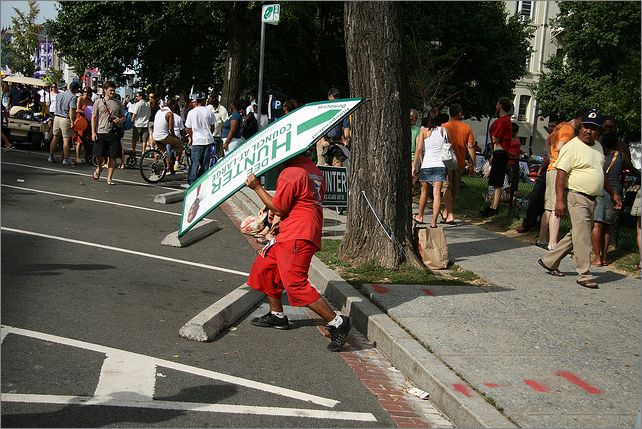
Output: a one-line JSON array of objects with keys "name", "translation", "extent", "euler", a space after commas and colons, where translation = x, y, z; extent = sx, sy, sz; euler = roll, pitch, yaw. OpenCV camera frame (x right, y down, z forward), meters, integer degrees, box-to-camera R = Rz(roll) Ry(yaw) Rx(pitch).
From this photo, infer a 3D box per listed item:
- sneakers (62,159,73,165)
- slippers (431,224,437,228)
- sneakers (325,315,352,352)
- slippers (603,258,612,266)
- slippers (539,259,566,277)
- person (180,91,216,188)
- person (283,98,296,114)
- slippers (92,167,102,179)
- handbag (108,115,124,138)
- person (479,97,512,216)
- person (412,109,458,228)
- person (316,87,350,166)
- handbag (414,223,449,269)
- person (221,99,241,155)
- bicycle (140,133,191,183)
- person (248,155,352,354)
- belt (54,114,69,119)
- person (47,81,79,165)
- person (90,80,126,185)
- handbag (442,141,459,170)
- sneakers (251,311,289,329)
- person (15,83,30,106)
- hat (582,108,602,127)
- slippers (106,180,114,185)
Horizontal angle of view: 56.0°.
[{"name": "sneakers", "translation": [-7.338, -1.517, 17.570], "extent": [0.129, 0.167, 0.368], "euler": [18, 14, 33]}, {"name": "slippers", "translation": [2.260, 0.246, 12.024], "extent": [0.149, 0.116, 0.425], "euler": [0, -1, 5]}, {"name": "sneakers", "translation": [0.195, 1.447, 7.439], "extent": [0.246, 0.531, 0.190], "euler": [13, -1, -30]}, {"name": "slippers", "translation": [5.062, 0.857, 10.636], "extent": [0.083, 0.110, 0.276], "euler": [-1, -5, 11]}, {"name": "slippers", "translation": [3.767, 0.911, 9.810], "extent": [0.473, 0.138, 0.182], "euler": [40, 14, -27]}, {"name": "person", "translation": [-3.215, -1.852, 15.735], "extent": [0.701, 2.518, 0.695], "euler": [11, 12, 14]}, {"name": "person", "translation": [-0.754, -2.612, 14.607], "extent": [0.238, 0.350, 1.037], "euler": [7, 12, -6]}, {"name": "slippers", "translation": [-5.685, -0.967, 15.309], "extent": [0.136, 0.211, 0.509], "euler": [6, -22, -35]}, {"name": "handbag", "translation": [-5.172, -2.212, 15.126], "extent": [0.179, 0.541, 0.555], "euler": [-2, 7, 16]}, {"name": "person", "translation": [3.938, -1.239, 13.525], "extent": [0.442, 2.700, 0.842], "euler": [16, 14, 34]}, {"name": "person", "translation": [2.342, -1.009, 12.829], "extent": [0.837, 2.483, 0.808], "euler": [3, 7, 25]}, {"name": "person", "translation": [0.325, -1.767, 14.539], "extent": [0.896, 2.687, 0.760], "euler": [7, 44, 10]}, {"name": "handbag", "translation": [1.846, 0.568, 10.108], "extent": [0.552, 0.707, 0.399], "euler": [-8, -8, -16]}, {"name": "person", "translation": [-2.426, -2.339, 16.695], "extent": [0.578, 1.593, 1.580], "euler": [6, 12, -10]}, {"name": "bicycle", "translation": [-4.535, -1.622, 17.085], "extent": [0.910, 1.205, 1.879], "euler": [14, 22, 39]}, {"name": "person", "translation": [-0.301, 0.434, 7.550], "extent": [1.472, 2.218, 0.563], "euler": [13, 12, 21]}, {"name": "belt", "translation": [-7.482, -2.815, 17.380], "extent": [0.357, 0.090, 0.050], "euler": [8, 12, -4]}, {"name": "person", "translation": [-7.483, -2.651, 17.458], "extent": [0.686, 2.378, 1.045], "euler": [3, 13, -25]}, {"name": "person", "translation": [-5.425, -2.064, 15.247], "extent": [0.760, 2.558, 0.882], "euler": [4, 12, -21]}, {"name": "handbag", "translation": [2.648, -1.190, 12.366], "extent": [0.242, 0.593, 0.610], "euler": [-13, -2, 14]}, {"name": "sneakers", "translation": [-0.644, 1.389, 7.783], "extent": [0.462, 0.217, 0.202], "euler": [6, -1, 7]}, {"name": "person", "translation": [-11.229, -4.473, 22.732], "extent": [0.402, 0.739, 0.936], "euler": [2, 13, -26]}, {"name": "hat", "translation": [4.183, -1.483, 9.249], "extent": [0.290, 0.242, 0.260], "euler": [13, 13, 21]}, {"name": "slippers", "translation": [-5.362, -0.799, 15.298], "extent": [0.135, 0.111, 0.346], "euler": [0, 1, -19]}]
